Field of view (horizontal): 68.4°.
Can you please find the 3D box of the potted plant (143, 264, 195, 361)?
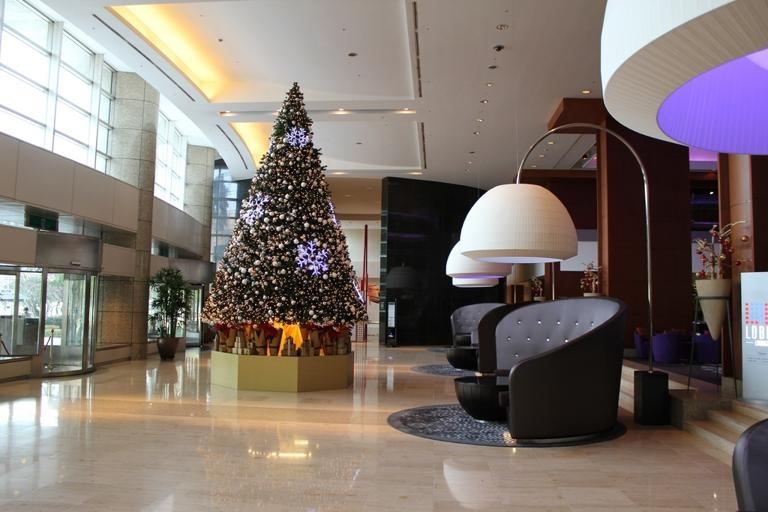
[{"bbox_3d":[-5.548,1.455,14.605,0.978,2.291,1.269,0,-1,-22],"label":"potted plant"}]
